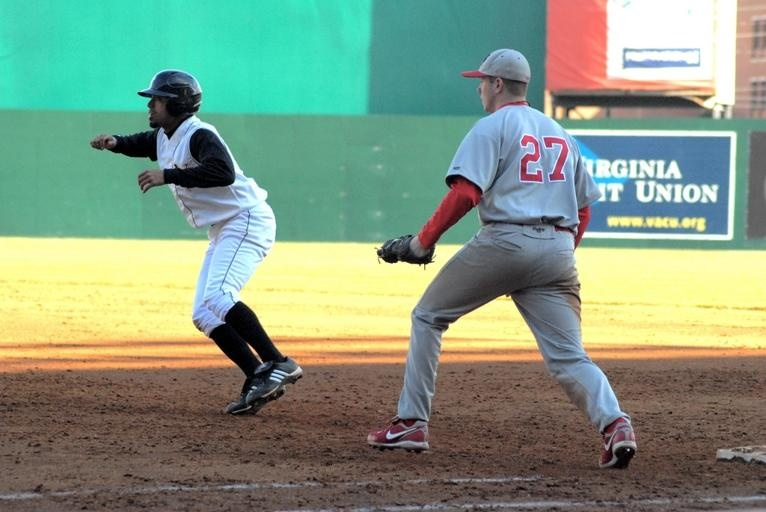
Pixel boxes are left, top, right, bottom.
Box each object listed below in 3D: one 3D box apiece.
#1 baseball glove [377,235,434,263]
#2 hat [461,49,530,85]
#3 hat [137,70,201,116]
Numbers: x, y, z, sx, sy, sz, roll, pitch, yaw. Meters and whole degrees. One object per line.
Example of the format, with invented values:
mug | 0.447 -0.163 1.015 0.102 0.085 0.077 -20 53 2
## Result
baseball glove | 0.212 -0.061 12.889 0.553 0.186 0.285 1 3 11
hat | 1.161 -1.974 13.016 0.692 0.266 0.374 9 9 10
hat | -2.262 -1.837 13.935 0.696 0.390 0.499 -12 21 -22
